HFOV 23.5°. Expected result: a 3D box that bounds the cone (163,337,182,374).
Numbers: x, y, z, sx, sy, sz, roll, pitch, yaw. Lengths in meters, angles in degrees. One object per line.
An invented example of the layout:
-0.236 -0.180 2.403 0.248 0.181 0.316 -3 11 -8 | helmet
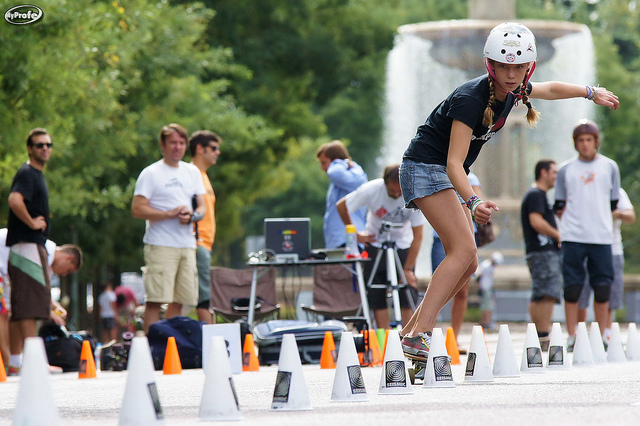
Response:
-2.163 2.096 22.657 0.255 0.535 0.290 -2 0 -6 | cone

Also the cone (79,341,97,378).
-3.367 2.140 22.471 0.233 0.540 0.281 -2 0 -10 | cone

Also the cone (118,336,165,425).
-2.266 2.234 19.752 0.894 1.284 0.950 0 -7 -7 | cone

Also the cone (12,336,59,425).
-3.500 2.098 19.043 0.525 1.109 0.216 -2 0 -12 | cone

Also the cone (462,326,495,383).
2.149 1.945 21.159 0.424 0.750 0.273 -2 0 5 | cone

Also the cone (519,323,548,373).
2.984 1.946 21.907 0.394 0.770 0.343 1 0 -7 | cone

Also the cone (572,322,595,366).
3.791 1.913 22.409 0.364 0.607 0.250 -2 0 -8 | cone

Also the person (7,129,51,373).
-4.256 0.285 22.876 0.672 3.507 0.402 -2 0 -10 | person

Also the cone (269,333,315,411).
-0.380 2.094 20.125 0.582 1.000 0.250 -2 0 -3 | cone

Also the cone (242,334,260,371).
-1.020 2.076 22.848 0.244 0.544 0.234 -2 0 -3 | cone

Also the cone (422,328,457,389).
1.581 1.959 20.867 0.461 0.802 0.531 1 0 10 | cone

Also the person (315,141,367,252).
0.273 0.079 25.257 0.816 2.432 1.110 6 7 -4 | person

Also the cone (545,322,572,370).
3.393 1.915 22.176 0.375 0.655 0.489 -2 0 9 | cone

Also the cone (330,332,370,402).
0.376 2.046 20.426 0.516 0.903 0.258 -2 0 1 | cone

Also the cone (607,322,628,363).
4.361 1.926 22.827 0.289 0.570 0.397 -2 0 11 | cone

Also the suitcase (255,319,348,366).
-0.310 1.983 23.303 1.302 0.698 0.606 -2 0 -4 | suitcase

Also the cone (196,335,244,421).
-1.289 2.143 19.787 0.604 1.096 0.201 -2 0 -5 | cone

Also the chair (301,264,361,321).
0.229 1.271 25.037 0.888 1.405 1.003 0 -11 0 | chair

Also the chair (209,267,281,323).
-1.198 1.261 24.895 0.986 0.892 0.975 0 -11 -9 | chair
